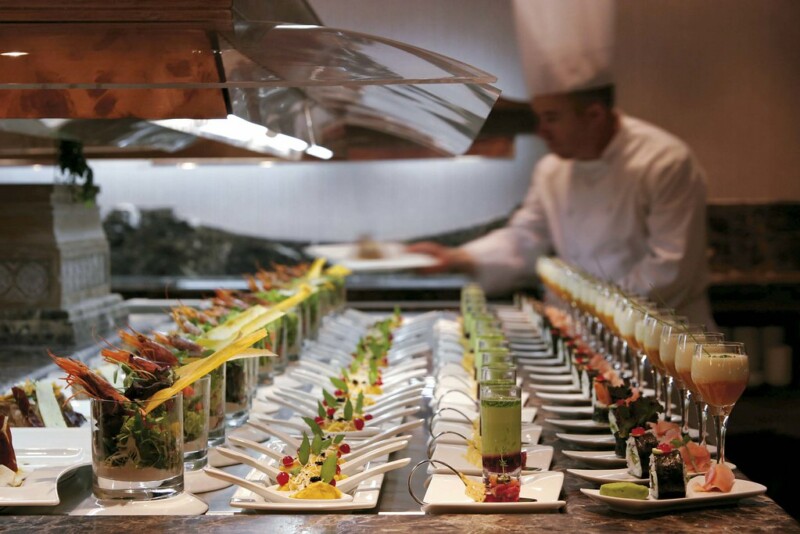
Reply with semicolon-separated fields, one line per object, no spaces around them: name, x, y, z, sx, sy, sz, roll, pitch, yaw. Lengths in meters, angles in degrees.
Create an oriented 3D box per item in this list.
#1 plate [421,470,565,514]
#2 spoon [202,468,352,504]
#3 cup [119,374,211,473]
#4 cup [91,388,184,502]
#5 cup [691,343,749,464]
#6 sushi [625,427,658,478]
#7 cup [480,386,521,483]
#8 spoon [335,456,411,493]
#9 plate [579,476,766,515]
plate;0.238;0.562;1.926;0.358;0.071;0.156;-2;9;0
spoon;-0.295;0.526;1.884;0.349;0.098;0.059;-2;10;2
cup;-0.635;0.428;2.154;0.208;0.311;0.199;1;4;0
cup;-0.674;0.473;1.989;0.288;0.215;0.282;-3;-10;-1
cup;0.845;0.351;2.026;0.133;0.322;0.228;8;14;44
sushi;0.632;0.481;1.995;0.078;0.117;0.093;-9;2;0
cup;0.251;0.407;1.910;0.097;0.218;0.085;-2;10;3
spoon;-0.074;0.536;1.973;0.194;0.038;0.041;-24;7;-8
plate;0.698;0.567;1.879;0.268;0.029;0.161;-3;-1;-18
